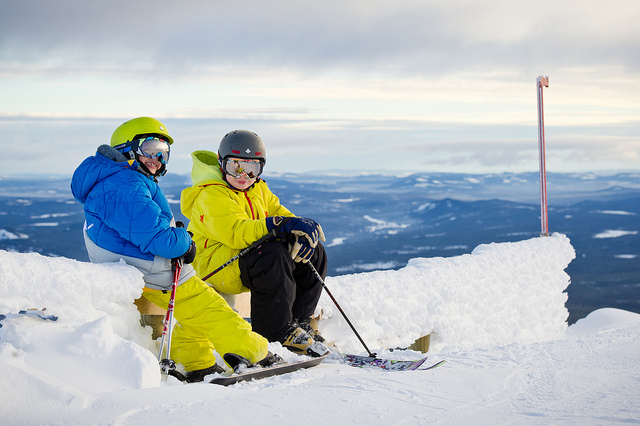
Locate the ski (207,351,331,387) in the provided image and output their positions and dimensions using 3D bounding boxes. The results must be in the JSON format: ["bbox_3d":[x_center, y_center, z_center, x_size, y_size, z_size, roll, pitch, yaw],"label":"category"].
[{"bbox_3d":[-0.304,1.380,7.900,1.671,0.145,0.273,-5,1,-42],"label":"ski"}]

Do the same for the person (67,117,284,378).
[{"bbox_3d":[-1.408,0.338,7.714,1.505,2.451,0.809,3,9,37],"label":"person"}]
